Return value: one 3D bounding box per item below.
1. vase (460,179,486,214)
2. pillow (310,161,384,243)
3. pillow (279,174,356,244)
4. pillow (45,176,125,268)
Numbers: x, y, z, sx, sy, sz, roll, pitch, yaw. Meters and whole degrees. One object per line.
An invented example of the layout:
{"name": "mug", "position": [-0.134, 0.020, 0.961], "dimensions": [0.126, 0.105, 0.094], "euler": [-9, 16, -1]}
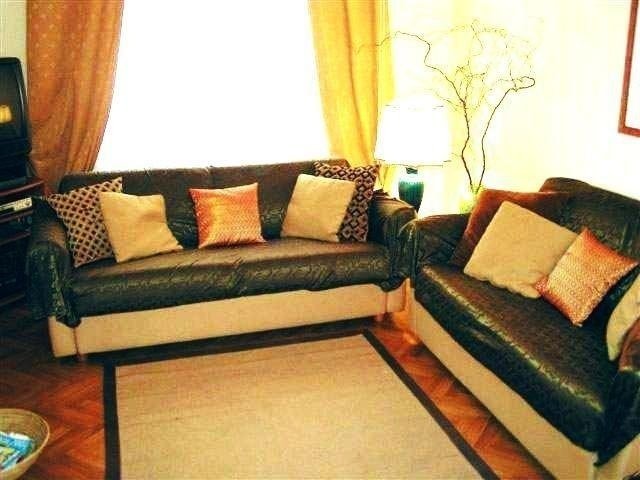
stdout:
{"name": "vase", "position": [1.113, -0.310, 3.543], "dimensions": [0.119, 0.122, 0.358], "euler": [12, 36, 26]}
{"name": "pillow", "position": [0.241, -0.260, 3.495], "dimensions": [0.562, 0.504, 0.164], "euler": [2, -12, 7]}
{"name": "pillow", "position": [-0.015, -0.221, 3.396], "dimensions": [0.507, 0.442, 0.154], "euler": [13, -2, 30]}
{"name": "pillow", "position": [-1.486, -0.084, 3.093], "dimensions": [0.511, 0.490, 0.120], "euler": [-19, -2, -34]}
